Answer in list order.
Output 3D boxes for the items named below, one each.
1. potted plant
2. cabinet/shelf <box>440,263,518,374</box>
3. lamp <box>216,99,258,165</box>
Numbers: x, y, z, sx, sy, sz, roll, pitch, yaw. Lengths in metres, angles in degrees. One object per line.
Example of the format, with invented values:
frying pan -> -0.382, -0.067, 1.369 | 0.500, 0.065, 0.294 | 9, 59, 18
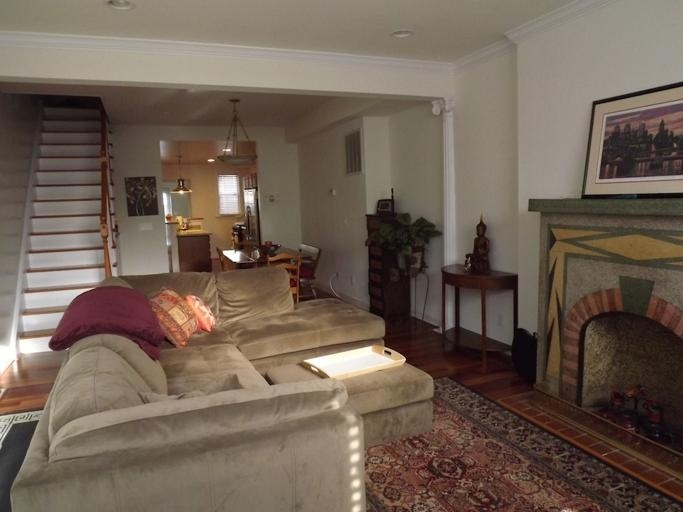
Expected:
potted plant -> 0.766, -0.230, 6.031 | 0.737, 0.479, 0.752 | 8, 10, 40
cabinet/shelf -> 1.326, 0.507, 4.984 | 0.312, 0.774, 0.842 | -11, 11, -27
lamp -> -1.707, -2.033, 7.901 | 0.585, 0.958, 0.614 | 4, 16, 8
